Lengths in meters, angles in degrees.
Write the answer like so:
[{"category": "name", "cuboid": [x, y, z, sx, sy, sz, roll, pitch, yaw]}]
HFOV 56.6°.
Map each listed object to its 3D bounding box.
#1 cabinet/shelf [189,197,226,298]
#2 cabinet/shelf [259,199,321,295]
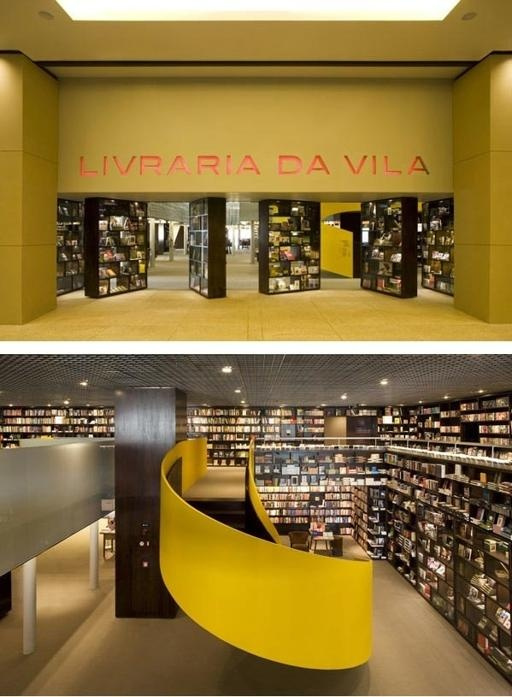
[{"category": "cabinet/shelf", "cuboid": [-1.066, -2.284, 10.788, 0.605, 3.479, 1.662, -2, 8, -17]}, {"category": "cabinet/shelf", "cuboid": [0.794, -2.571, 11.843, 1.571, 2.932, 0.493, -9, 14, -34]}]
